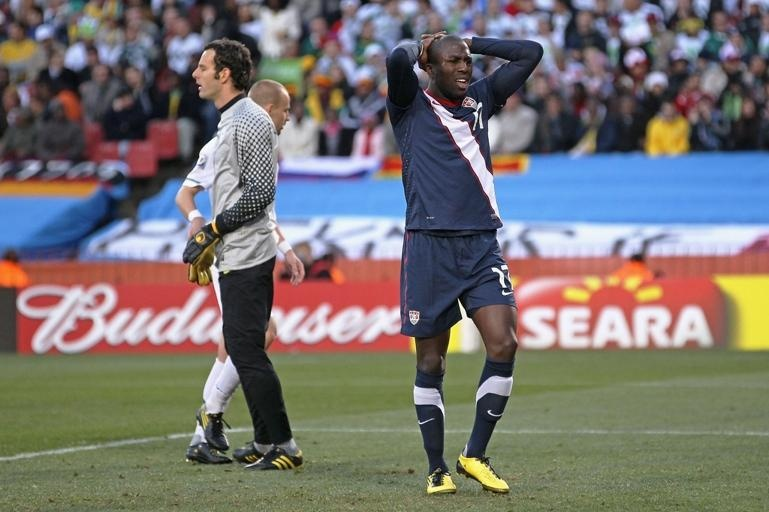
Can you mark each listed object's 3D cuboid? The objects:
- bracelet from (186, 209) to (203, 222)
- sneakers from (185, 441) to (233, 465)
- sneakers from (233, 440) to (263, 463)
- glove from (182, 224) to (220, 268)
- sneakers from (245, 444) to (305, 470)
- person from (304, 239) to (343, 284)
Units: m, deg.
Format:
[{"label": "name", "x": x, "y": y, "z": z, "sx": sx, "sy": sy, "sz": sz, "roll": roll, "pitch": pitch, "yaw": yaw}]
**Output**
[{"label": "bracelet", "x": -2.066, "y": -0.452, "z": 15.771, "sx": 0.149, "sy": 0.131, "sz": 0.141, "roll": -4, "pitch": -7, "yaw": -18}, {"label": "sneakers", "x": -1.924, "y": 2.154, "z": 15.900, "sx": 0.587, "sy": 0.248, "sz": 0.197, "roll": 5, "pitch": -5, "yaw": -6}, {"label": "sneakers", "x": -1.522, "y": 2.121, "z": 15.761, "sx": 0.160, "sy": 0.204, "sz": 0.431, "roll": 36, "pitch": -25, "yaw": -31}, {"label": "glove", "x": -1.993, "y": -0.103, "z": 15.587, "sx": 0.142, "sy": 0.503, "sz": 0.299, "roll": 29, "pitch": 26, "yaw": -47}, {"label": "sneakers", "x": -1.153, "y": 2.189, "z": 15.732, "sx": 0.707, "sy": 0.258, "sz": 0.235, "roll": 1, "pitch": -10, "yaw": 1}, {"label": "person", "x": -0.909, "y": 0.103, "z": 22.010, "sx": 0.565, "sy": 0.429, "sz": 1.111, "roll": -2, "pitch": 9, "yaw": -3}]
